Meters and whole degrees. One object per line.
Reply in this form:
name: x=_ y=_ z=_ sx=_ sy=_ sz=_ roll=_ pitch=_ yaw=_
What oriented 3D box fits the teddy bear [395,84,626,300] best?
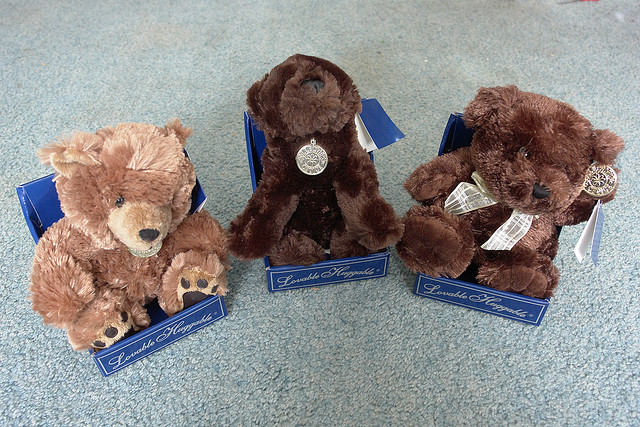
teddy bear: x=0.584 y=-0.051 z=1.910 sx=0.662 sy=0.548 sz=0.402 roll=14 pitch=37 yaw=0

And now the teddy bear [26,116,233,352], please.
teddy bear: x=-0.566 y=0.091 z=1.829 sx=0.639 sy=0.570 sz=0.379 roll=-16 pitch=30 yaw=-25

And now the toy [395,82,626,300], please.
toy: x=0.590 y=-0.040 z=1.928 sx=0.589 sy=0.539 sz=0.364 roll=27 pitch=24 yaw=0
